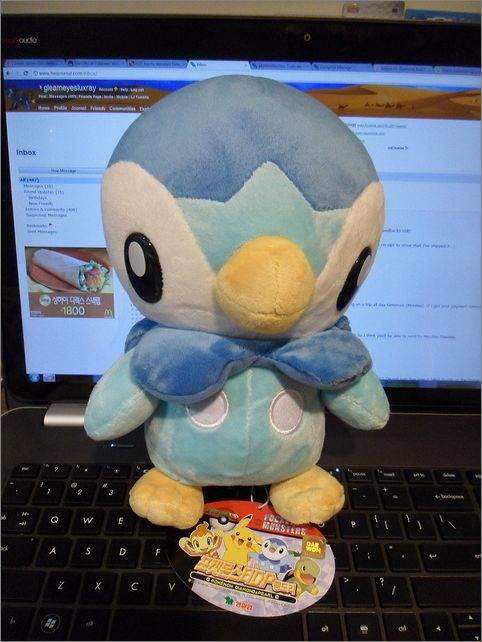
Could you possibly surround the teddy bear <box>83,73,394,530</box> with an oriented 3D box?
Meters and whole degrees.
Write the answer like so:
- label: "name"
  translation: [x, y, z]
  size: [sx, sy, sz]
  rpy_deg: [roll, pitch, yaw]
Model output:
- label: "teddy bear"
  translation: [-0.003, -0.006, 0.393]
  size: [0.223, 0.283, 0.192]
  rpy_deg: [0, 12, -11]
